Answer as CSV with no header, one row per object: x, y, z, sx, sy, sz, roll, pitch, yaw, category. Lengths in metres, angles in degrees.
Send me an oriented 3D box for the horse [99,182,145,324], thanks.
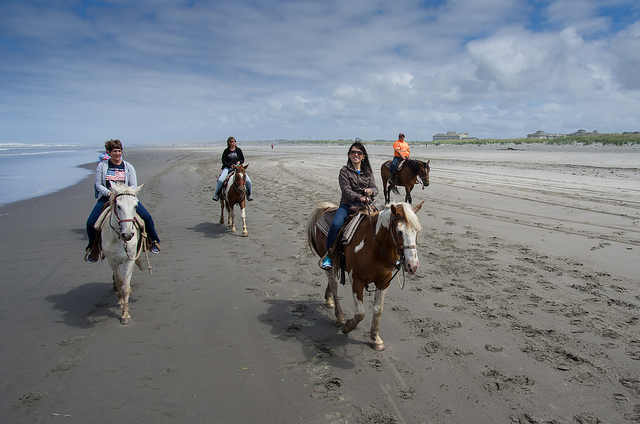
-4.685,0.894,8.465,0.914,3.087,1.563,-8,16,-32,horse

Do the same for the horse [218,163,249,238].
-3.431,-0.568,14.038,0.987,2.571,2.726,-6,15,-23,horse

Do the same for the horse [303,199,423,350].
0.935,1.210,8.057,1.182,3.122,2.829,-7,16,-29,horse

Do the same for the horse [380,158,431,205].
4.275,-1.521,18.488,1.011,2.532,4.020,-6,11,-23,horse

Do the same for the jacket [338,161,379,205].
0.887,-0.602,8.616,1.034,1.108,1.086,3,6,8,jacket
